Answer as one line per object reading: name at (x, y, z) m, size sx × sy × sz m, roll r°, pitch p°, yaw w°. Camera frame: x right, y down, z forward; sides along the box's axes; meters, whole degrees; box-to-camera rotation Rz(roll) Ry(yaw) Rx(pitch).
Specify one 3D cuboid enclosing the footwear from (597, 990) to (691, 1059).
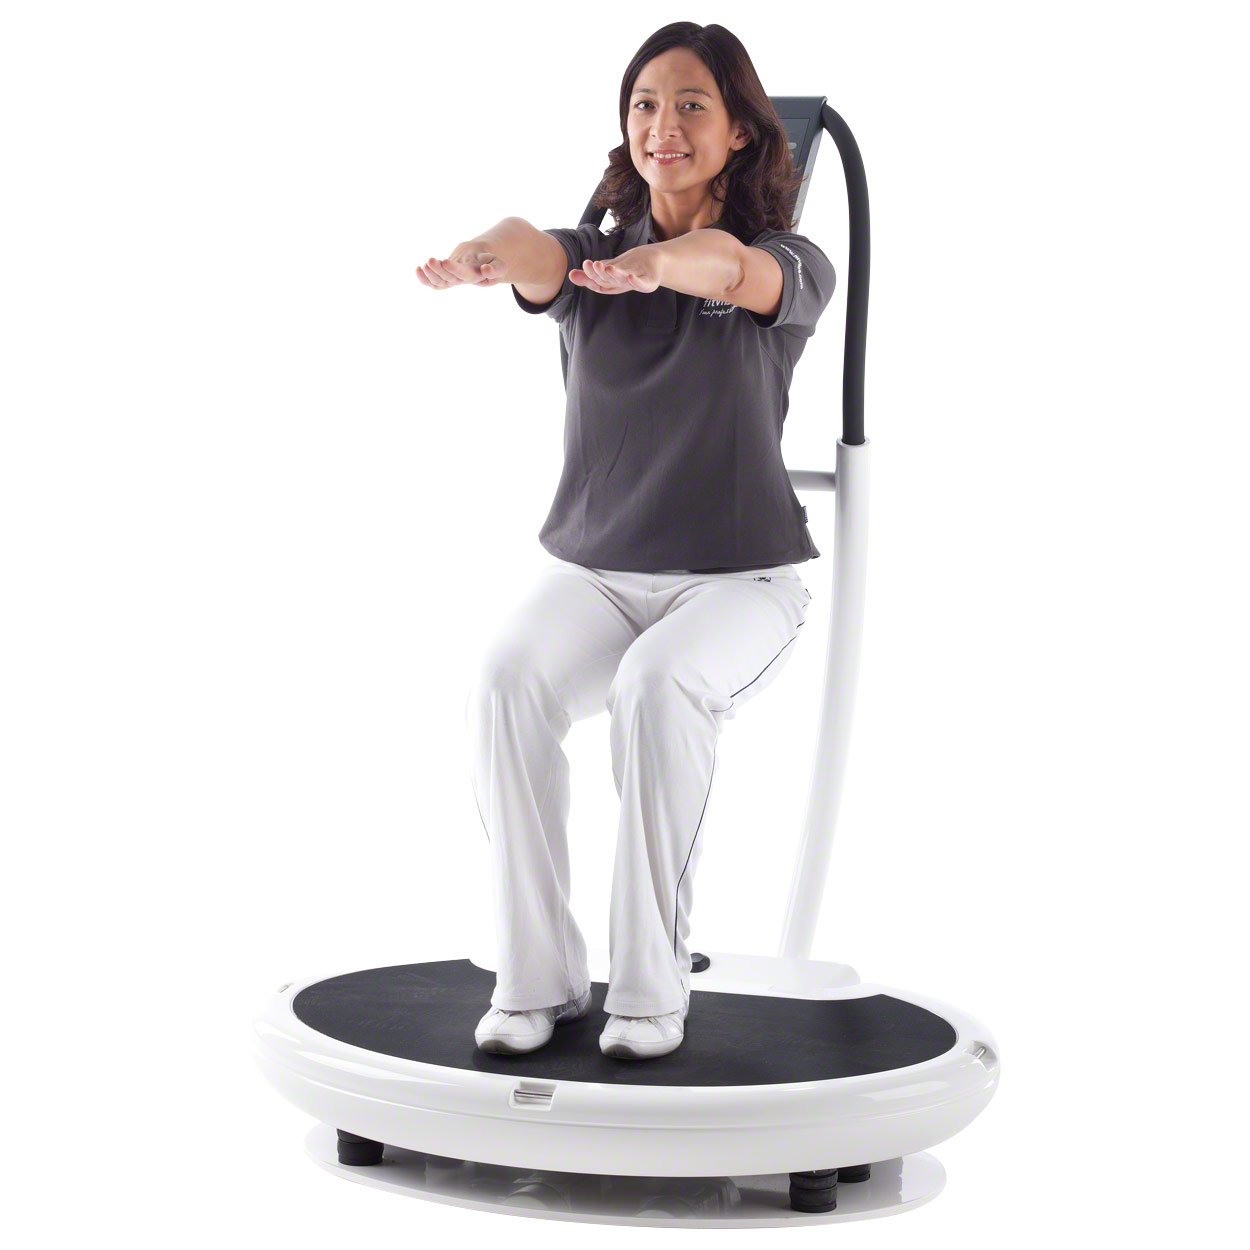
footwear at (0.031, 0.617, 2.361) m, size 0.105 × 0.084 × 0.242 m, roll -2°, pitch -5°, yaw 10°

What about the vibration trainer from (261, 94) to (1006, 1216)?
vibration trainer at (-0.009, -0.021, 2.467) m, size 1.166 × 1.825 × 0.909 m, roll -3°, pitch 9°, yaw -19°
